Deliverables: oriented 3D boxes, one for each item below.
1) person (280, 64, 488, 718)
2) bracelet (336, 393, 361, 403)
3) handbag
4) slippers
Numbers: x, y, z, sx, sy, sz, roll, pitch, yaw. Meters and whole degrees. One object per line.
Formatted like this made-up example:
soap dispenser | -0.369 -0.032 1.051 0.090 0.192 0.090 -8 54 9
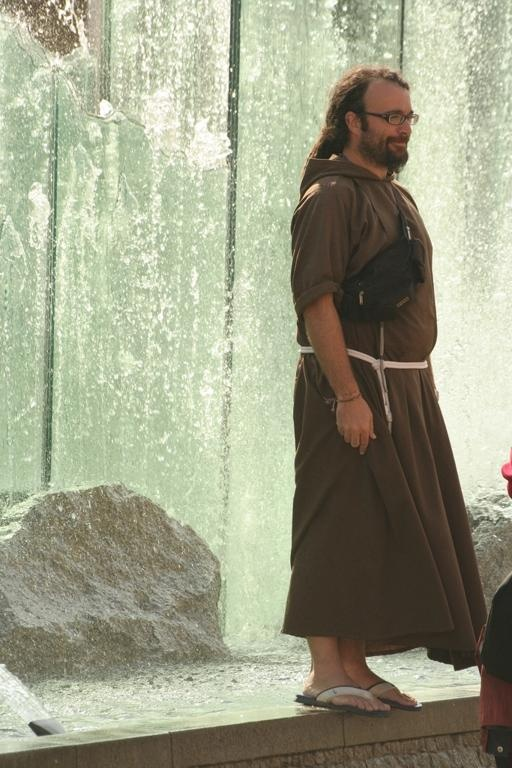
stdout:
person | 0.291 -0.021 2.820 0.508 1.358 0.369 -2 -1 -9
bracelet | 0.219 0.033 2.738 0.058 0.024 0.030 -2 -1 6
handbag | 0.283 -0.278 2.857 0.224 0.095 0.183 -42 -45 7
slippers | 0.209 0.734 2.672 0.153 0.039 0.120 -3 -5 27
